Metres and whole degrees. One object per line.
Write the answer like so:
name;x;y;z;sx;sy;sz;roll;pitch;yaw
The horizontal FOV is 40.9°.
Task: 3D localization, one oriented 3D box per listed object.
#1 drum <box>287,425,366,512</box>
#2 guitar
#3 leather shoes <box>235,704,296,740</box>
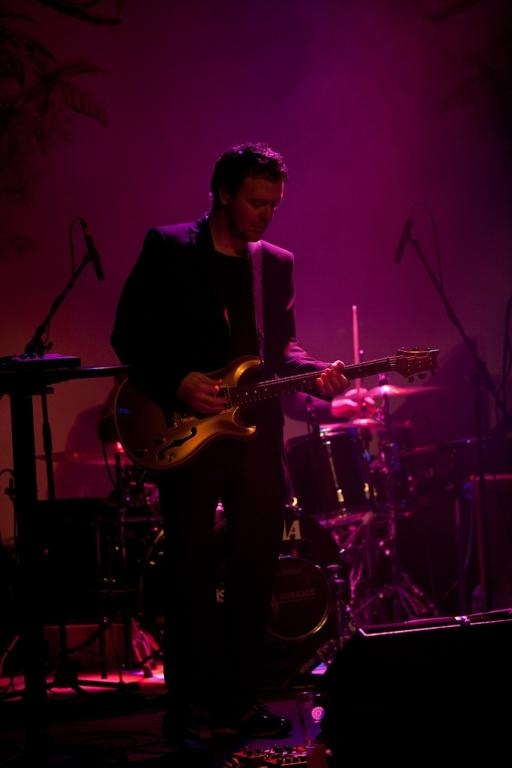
drum;0.302;0.442;3.304;0.310;0.335;0.299;-3;-6;-24
guitar;-0.108;0.089;2.050;0.612;0.310;0.146;-3;-6;-22
leather shoes;0.019;1.004;2.043;0.206;0.088;0.071;5;-9;-7
